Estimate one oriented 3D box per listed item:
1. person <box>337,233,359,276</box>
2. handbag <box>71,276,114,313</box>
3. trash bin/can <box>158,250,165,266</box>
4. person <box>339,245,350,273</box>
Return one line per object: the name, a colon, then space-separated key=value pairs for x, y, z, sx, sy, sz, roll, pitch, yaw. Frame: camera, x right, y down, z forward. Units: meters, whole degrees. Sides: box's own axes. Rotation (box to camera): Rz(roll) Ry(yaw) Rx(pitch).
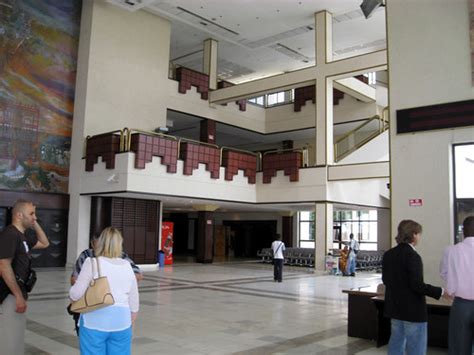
person: x=5.208 y=3.543 z=17.486 sx=0.561 sy=1.927 sz=0.589 roll=1 pitch=-10 yaw=42
handbag: x=-1.285 y=1.046 z=3.346 sx=0.271 sy=0.288 sz=0.108 roll=-12 pitch=-14 yaw=29
trash bin/can: x=-3.900 y=4.138 z=19.316 sx=0.295 sy=0.801 sz=0.710 roll=2 pitch=-8 yaw=-11
person: x=5.020 y=3.870 z=17.537 sx=0.457 sy=1.274 sz=0.845 roll=-1 pitch=-8 yaw=14
